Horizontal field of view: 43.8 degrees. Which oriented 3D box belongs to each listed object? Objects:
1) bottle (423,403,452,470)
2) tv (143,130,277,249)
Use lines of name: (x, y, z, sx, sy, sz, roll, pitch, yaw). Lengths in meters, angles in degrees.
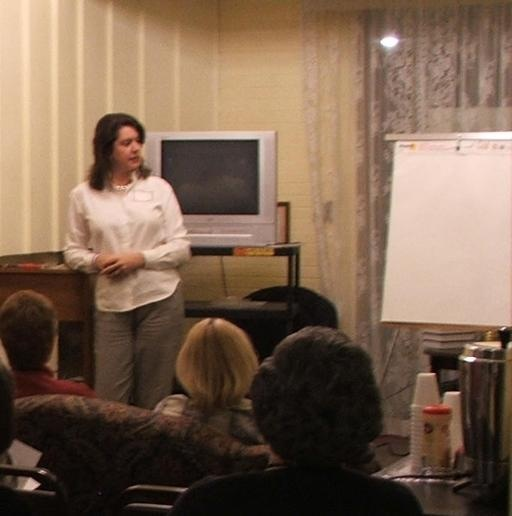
bottle: (0.397, 0.397, 1.403, 0.054, 0.134, 0.037, -2, 6, -20)
tv: (-0.213, -0.350, 3.230, 0.848, 0.576, 0.391, -1, -1, 3)
